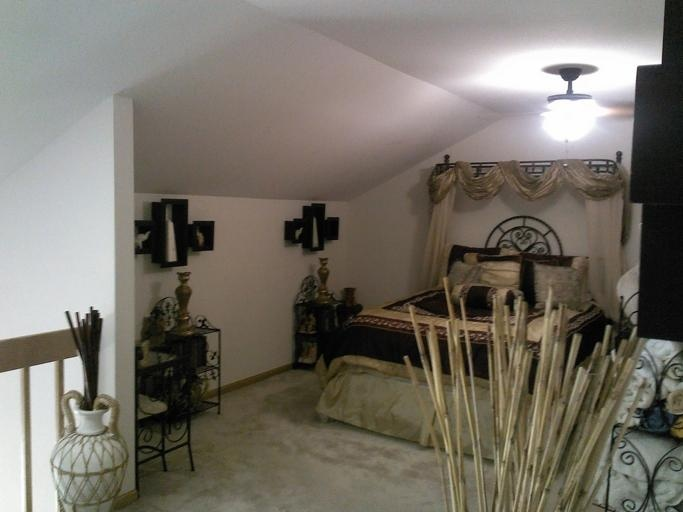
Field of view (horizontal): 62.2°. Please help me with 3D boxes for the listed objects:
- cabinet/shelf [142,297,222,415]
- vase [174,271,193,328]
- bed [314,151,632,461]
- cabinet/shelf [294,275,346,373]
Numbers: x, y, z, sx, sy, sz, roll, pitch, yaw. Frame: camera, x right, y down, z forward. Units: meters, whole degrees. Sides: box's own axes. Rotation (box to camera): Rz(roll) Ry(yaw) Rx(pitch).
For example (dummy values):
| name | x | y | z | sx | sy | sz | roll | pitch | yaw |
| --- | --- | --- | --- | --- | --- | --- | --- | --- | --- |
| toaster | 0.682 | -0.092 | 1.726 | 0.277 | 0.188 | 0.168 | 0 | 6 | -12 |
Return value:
| name | x | y | z | sx | sy | sz | roll | pitch | yaw |
| --- | --- | --- | --- | --- | --- | --- | --- | --- | --- |
| cabinet/shelf | -1.410 | 0.811 | 4.739 | 0.760 | 0.905 | 0.289 | 1 | -7 | -7 |
| vase | -1.282 | 0.360 | 4.602 | 0.121 | 0.450 | 0.296 | -2 | 9 | -17 |
| bed | 1.327 | 0.213 | 5.395 | 2.158 | 2.263 | 3.003 | 5 | 11 | 37 |
| cabinet/shelf | -0.247 | 0.819 | 6.297 | 0.380 | 0.783 | 0.782 | 2 | 0 | 20 |
